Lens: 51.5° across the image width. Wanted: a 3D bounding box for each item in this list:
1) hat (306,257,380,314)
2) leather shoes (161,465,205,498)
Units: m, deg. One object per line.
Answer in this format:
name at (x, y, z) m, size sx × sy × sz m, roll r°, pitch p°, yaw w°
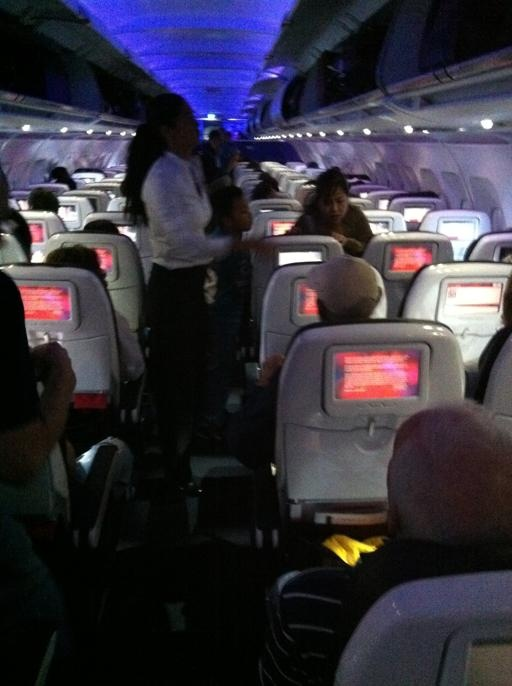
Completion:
hat at (0.385, -0.263, 2.043) m, size 0.319 × 0.165 × 0.410 m, roll -3°, pitch 21°, yaw 0°
leather shoes at (-0.389, 0.724, 2.873) m, size 0.183 × 0.163 × 0.176 m, roll 3°, pitch 3°, yaw -13°
